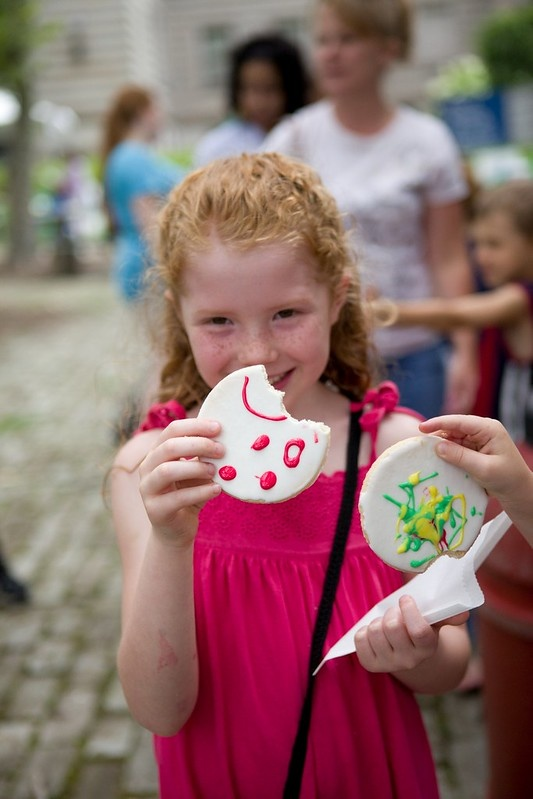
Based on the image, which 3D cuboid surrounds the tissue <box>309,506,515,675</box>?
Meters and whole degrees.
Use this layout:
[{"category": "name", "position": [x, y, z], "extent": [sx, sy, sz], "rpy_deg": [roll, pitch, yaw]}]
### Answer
[{"category": "tissue", "position": [0.304, 0.378, 1.548], "extent": [0.418, 0.085, 0.222], "rpy_deg": [-28, 17, 19]}]

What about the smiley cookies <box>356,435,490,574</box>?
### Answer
[{"category": "smiley cookies", "position": [0.273, 0.198, 1.558], "extent": [0.257, 0.260, 0.078], "rpy_deg": [-42, 18, -18]}]
